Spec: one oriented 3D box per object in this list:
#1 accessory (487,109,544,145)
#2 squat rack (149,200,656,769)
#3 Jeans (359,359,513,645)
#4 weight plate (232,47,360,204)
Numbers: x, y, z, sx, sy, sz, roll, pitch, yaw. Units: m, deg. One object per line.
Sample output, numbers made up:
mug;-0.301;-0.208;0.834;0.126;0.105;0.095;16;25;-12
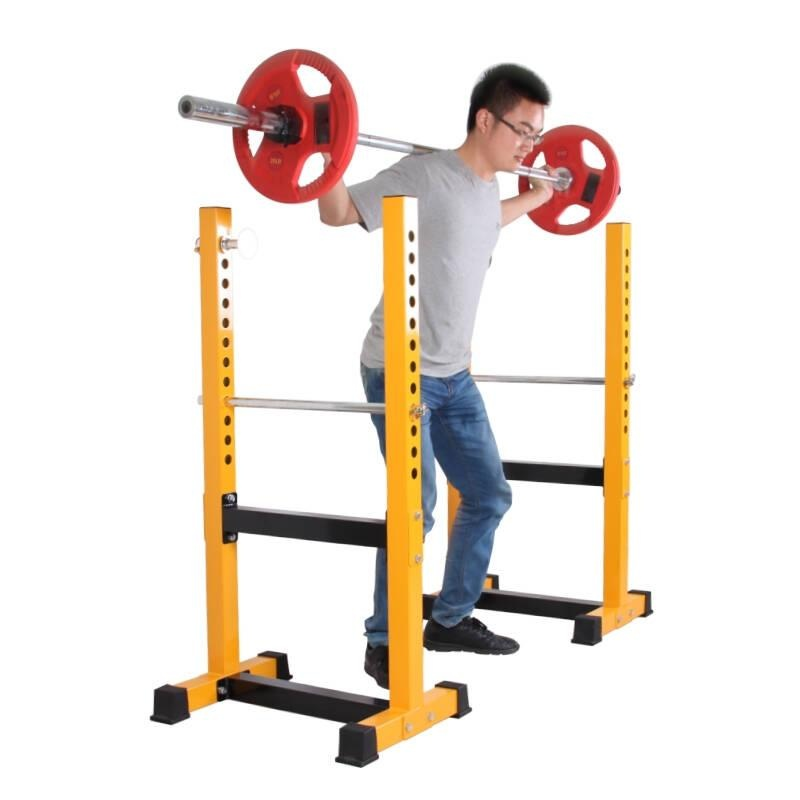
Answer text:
accessory;0.387;-0.878;3.425;0.034;0.118;0.111;-26;-19;36
squat rack;-0.003;0.198;3.086;0.724;1.342;1.552;2;4;30
Jeans;0.138;0.281;3.621;0.453;0.320;1.291;-6;-71;-18
weight plate;-0.286;-0.743;2.870;0.426;0.332;0.232;-26;-39;35
